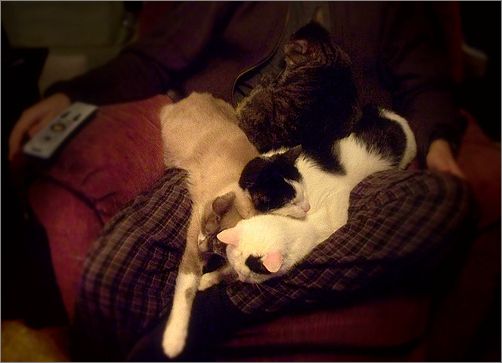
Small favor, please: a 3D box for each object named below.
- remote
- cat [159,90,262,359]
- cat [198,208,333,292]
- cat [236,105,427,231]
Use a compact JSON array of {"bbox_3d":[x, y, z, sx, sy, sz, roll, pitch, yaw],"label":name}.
[{"bbox_3d":[-0.530,-0.148,1.342,0.090,0.047,0.229,18,52,17],"label":"remote"},{"bbox_3d":[-0.128,0.131,1.384,0.245,0.255,0.746,-5,59,33],"label":"cat"},{"bbox_3d":[0.064,0.197,1.396,0.396,0.162,0.163,-26,45,-13],"label":"cat"},{"bbox_3d":[0.243,-0.041,1.409,0.422,0.176,0.295,-27,75,9],"label":"cat"}]
